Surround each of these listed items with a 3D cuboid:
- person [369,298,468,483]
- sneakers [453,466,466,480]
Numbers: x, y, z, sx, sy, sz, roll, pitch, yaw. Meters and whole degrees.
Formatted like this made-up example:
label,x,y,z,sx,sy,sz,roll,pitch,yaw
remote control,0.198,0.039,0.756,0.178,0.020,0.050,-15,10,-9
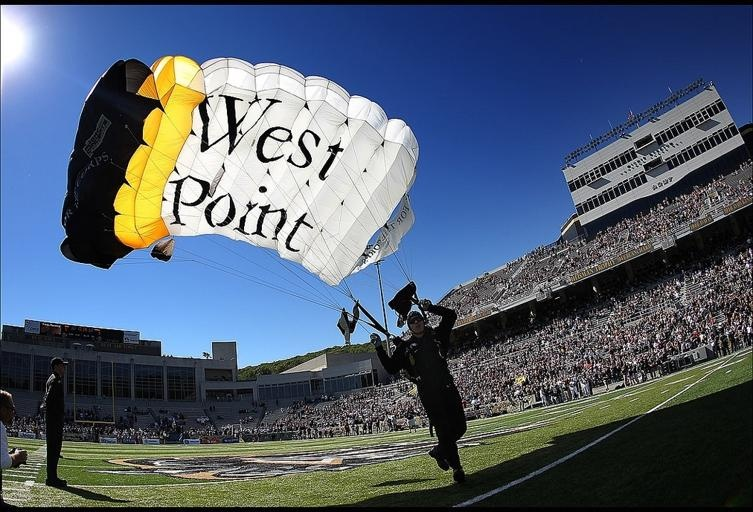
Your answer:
label,x,y,z,sx,sy,sz,roll,pitch,yaw
person,1.085,2.459,9.385,1.477,3.465,1.115,5,-26,-33
sneakers,1.523,3.970,8.974,0.223,0.250,0.269,-11,-21,2
